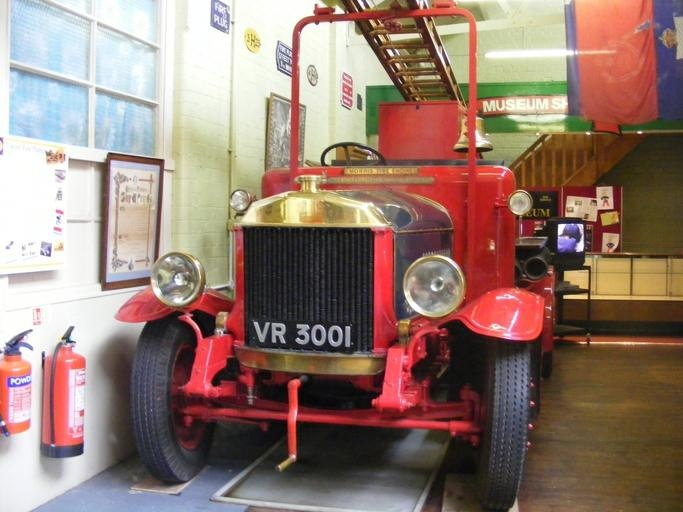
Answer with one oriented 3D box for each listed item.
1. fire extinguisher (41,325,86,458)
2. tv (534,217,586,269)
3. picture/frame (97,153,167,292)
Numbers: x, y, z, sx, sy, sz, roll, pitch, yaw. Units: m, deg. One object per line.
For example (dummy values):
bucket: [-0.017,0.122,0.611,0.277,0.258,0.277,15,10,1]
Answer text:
fire extinguisher: [-1.484,0.732,3.094,0.215,0.699,0.200,0,5,-10]
tv: [2.676,-0.101,6.920,0.451,0.601,0.590,-1,-16,24]
picture/frame: [-1.320,-0.225,3.709,0.060,0.837,0.554,3,6,21]
